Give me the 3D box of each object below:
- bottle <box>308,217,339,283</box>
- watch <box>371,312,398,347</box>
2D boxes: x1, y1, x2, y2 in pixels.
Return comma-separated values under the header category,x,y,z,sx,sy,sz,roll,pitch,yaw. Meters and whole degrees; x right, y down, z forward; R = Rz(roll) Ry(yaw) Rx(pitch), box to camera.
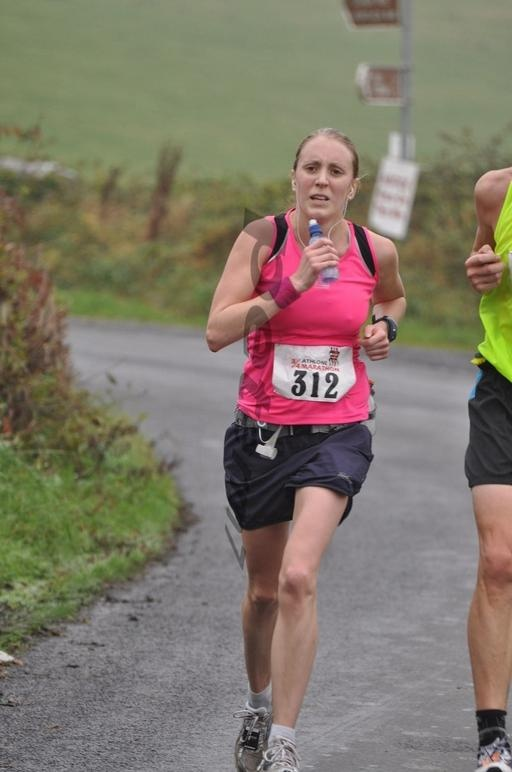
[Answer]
category,x,y,z,sx,sy,sz,roll,pitch,yaw
bottle,0.200,-0.401,2.809,0.098,0.190,0.204,5,4,3
watch,0.433,-0.191,3.200,0.100,0.106,0.062,-5,0,-1
